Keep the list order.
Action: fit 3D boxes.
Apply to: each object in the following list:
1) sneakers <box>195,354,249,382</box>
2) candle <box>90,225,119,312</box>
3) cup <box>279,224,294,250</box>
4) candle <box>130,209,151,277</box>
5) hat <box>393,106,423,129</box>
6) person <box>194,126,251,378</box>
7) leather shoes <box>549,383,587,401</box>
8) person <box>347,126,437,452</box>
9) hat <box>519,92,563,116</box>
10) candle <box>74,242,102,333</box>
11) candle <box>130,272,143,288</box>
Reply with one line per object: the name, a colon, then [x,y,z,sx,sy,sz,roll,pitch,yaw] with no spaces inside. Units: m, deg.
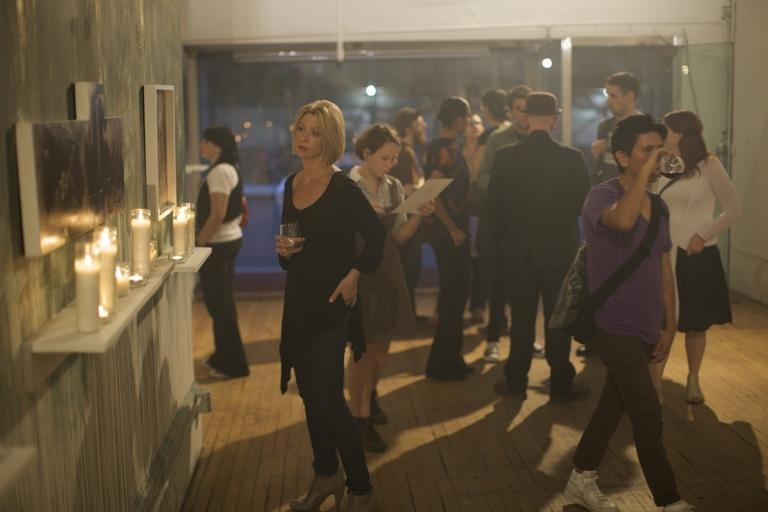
sneakers: [-1.305,0.939,5.233,0.534,0.262,0.184,-4,0,6]
candle: [-1.041,0.068,2.372,0.077,0.334,0.076,0,3,-39]
cup: [-0.483,-0.103,3.175,0.081,0.149,0.085,0,-4,0]
candle: [-1.107,-0.041,2.888,0.077,0.315,0.084,-2,5,-11]
hat: [0.220,-1.280,5.939,0.239,0.215,0.246,1,8,43]
person: [-1.282,-0.007,5.066,0.396,1.992,0.395,-5,12,-18]
leather shoes: [1.366,1.024,4.701,0.195,0.072,0.158,-6,0,-13]
person: [0.030,0.231,4.081,0.603,2.126,0.580,6,20,17]
hat: [1.179,-1.162,4.830,0.305,0.171,0.458,2,17,5]
candle: [-1.037,0.115,2.216,0.088,0.278,0.130,-6,13,-24]
candle: [-1.072,0.110,2.750,0.046,0.033,0.051,-1,6,0]
